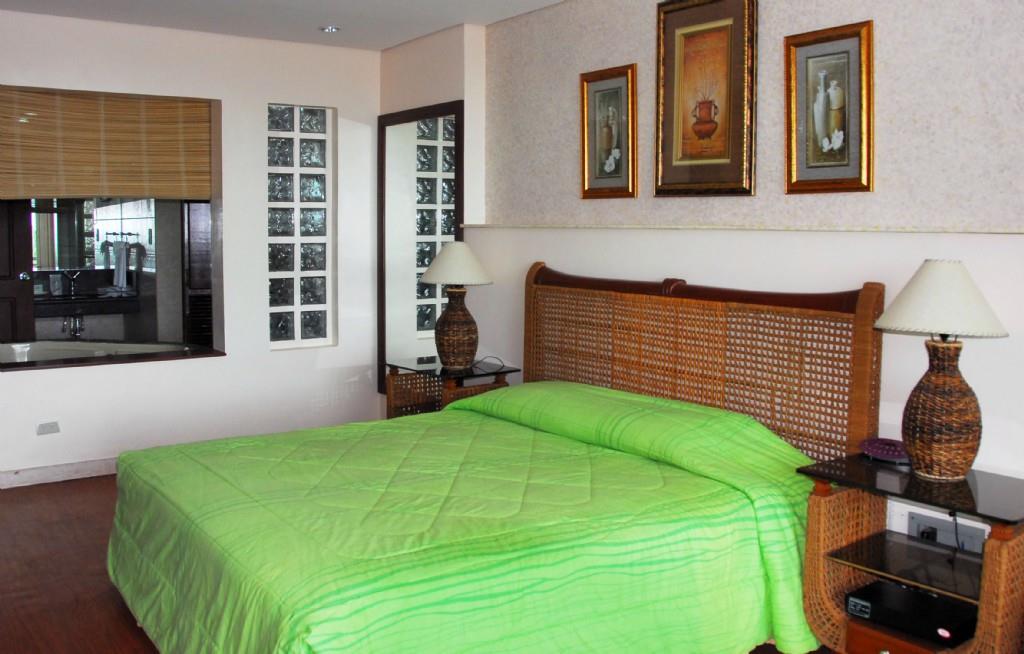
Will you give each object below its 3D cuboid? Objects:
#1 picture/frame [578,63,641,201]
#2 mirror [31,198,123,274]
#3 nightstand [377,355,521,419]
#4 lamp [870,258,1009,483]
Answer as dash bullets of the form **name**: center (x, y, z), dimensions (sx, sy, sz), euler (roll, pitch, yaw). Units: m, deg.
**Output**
- **picture/frame**: center (0.647, -1.310, 4.529), dimensions (0.505, 0.835, 0.168), euler (10, 20, 41)
- **mirror**: center (-4.694, -0.961, 7.257), dimensions (0.738, 1.404, 0.752), euler (1, 1, -44)
- **nightstand**: center (-0.513, 0.427, 4.943), dimensions (0.629, 0.571, 0.619), euler (-10, 15, -35)
- **lamp**: center (1.849, 0.183, 2.954), dimensions (0.363, 0.927, 0.395), euler (-11, 16, -27)
